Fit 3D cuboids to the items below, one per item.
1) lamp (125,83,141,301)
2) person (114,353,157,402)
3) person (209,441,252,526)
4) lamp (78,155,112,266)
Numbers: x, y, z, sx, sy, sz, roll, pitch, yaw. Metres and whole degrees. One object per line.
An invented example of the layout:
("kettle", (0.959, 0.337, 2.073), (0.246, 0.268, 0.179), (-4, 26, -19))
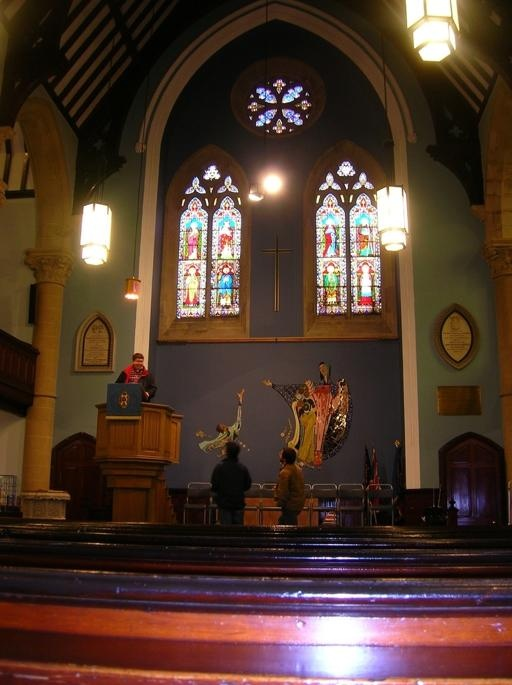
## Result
("lamp", (-2.375, -2.926, 13.801), (0.462, 4.391, 1.140), (0, -11, -10))
("person", (-1.524, 0.418, 8.866), (0.445, 0.736, 0.923), (0, -11, -15))
("person", (-0.276, 1.503, 7.527), (0.417, 0.870, 0.437), (-1, -11, -5))
("lamp", (-2.506, -2.047, 11.006), (0.310, 1.276, 0.320), (0, -9, 18))
